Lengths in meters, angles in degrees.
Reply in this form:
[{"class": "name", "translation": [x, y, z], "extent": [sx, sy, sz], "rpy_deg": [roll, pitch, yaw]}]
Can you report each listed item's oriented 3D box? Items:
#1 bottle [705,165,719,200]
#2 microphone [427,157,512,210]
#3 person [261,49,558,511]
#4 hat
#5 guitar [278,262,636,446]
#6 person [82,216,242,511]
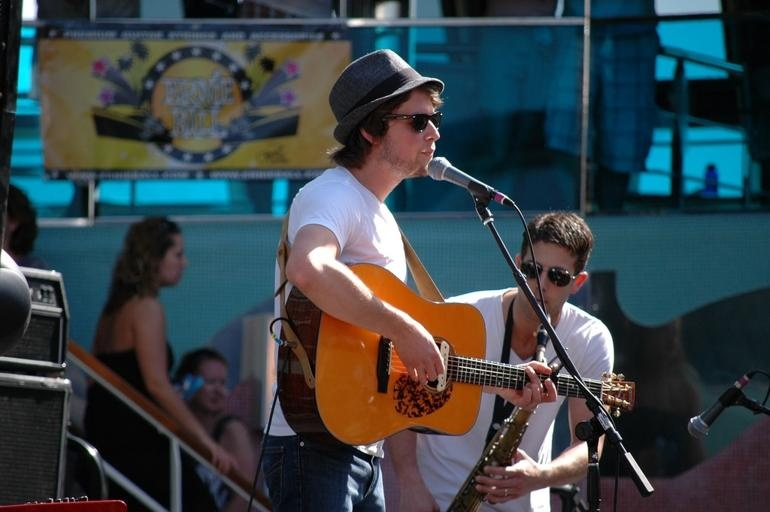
[{"class": "bottle", "translation": [2.250, -0.524, 10.263], "extent": [0.104, 0.225, 0.044], "rpy_deg": [6, 8, 9]}, {"class": "microphone", "translation": [0.561, -0.495, 9.808], "extent": [0.525, 0.163, 0.143], "rpy_deg": [28, -33, -10]}, {"class": "person", "translation": [-0.141, 0.139, 8.938], "extent": [1.039, 2.738, 0.760], "rpy_deg": [4, 8, -5]}, {"class": "hat", "translation": [-0.017, -0.950, 9.078], "extent": [0.604, 0.325, 0.519], "rpy_deg": [-40, -7, -4]}, {"class": "guitar", "translation": [0.590, 0.748, 9.117], "extent": [2.043, 1.078, 0.300], "rpy_deg": [9, -24, -4]}, {"class": "person", "translation": [-1.585, 0.724, 10.179], "extent": [0.854, 1.939, 0.496], "rpy_deg": [3, 8, -12]}]
